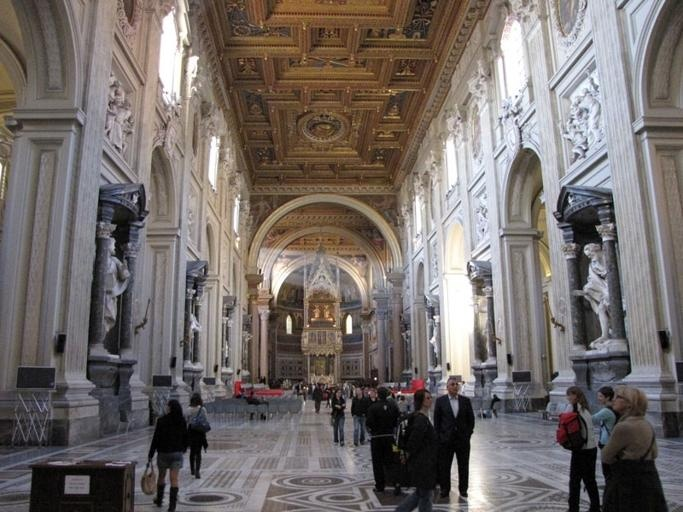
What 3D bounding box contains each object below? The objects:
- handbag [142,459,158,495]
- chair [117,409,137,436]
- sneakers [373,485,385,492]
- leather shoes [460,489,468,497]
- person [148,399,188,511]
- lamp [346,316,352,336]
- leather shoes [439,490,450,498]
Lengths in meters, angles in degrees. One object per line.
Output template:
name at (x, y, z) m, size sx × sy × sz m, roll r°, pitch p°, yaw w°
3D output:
handbag at (-2.215, 2.548, 6.341) m, size 0.153 × 0.402 × 0.173 m, roll -11°, pitch -23°, yaw 15°
chair at (-4.923, 3.897, 12.643) m, size 0.349 × 0.610 × 0.323 m, roll 2°, pitch -1°, yaw -9°
sneakers at (0.530, 3.259, 7.686) m, size 0.156 × 0.087 × 0.151 m, roll 0°, pitch -13°, yaw -3°
leather shoes at (1.633, 3.208, 7.380) m, size 0.120 × 0.096 × 0.071 m, roll 3°, pitch 0°, yaw 19°
person at (-2.192, 2.521, 6.986) m, size 0.445 × 1.332 × 0.567 m, roll 4°, pitch -13°, yaw -19°
lamp at (0.736, 7.000, 55.751) m, size 0.934 × 1.971 × 0.332 m, roll -12°, pitch -17°, yaw 42°
leather shoes at (1.402, 3.219, 7.423) m, size 0.211 × 0.079 × 0.109 m, roll 11°, pitch -17°, yaw -39°
